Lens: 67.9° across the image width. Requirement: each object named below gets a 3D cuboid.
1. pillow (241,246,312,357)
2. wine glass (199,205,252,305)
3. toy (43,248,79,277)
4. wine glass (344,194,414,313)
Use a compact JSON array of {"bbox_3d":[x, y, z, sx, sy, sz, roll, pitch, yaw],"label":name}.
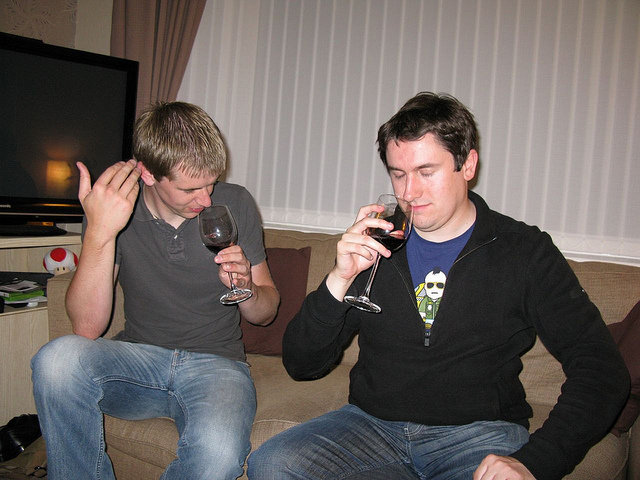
[{"bbox_3d":[-0.190,0.289,2.348,0.412,0.492,0.144,1,-5,4],"label":"pillow"},{"bbox_3d":[-0.358,0.082,1.802,0.188,0.423,0.257,-1,10,-22],"label":"wine glass"},{"bbox_3d":[-1.437,0.123,2.629,0.114,0.099,0.125,-2,22,-9],"label":"toy"},{"bbox_3d":[0.216,0.056,1.662,0.196,0.430,0.248,7,10,26],"label":"wine glass"}]
